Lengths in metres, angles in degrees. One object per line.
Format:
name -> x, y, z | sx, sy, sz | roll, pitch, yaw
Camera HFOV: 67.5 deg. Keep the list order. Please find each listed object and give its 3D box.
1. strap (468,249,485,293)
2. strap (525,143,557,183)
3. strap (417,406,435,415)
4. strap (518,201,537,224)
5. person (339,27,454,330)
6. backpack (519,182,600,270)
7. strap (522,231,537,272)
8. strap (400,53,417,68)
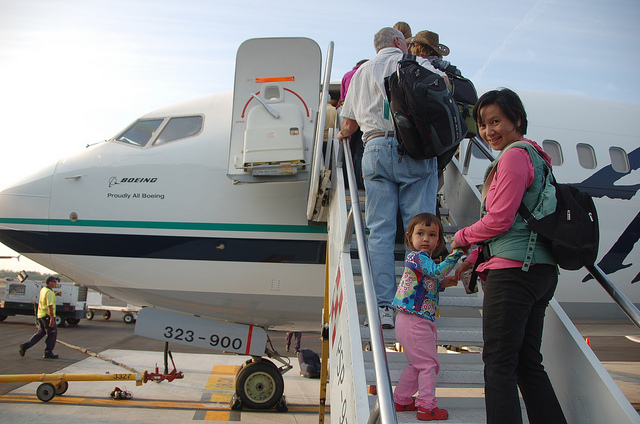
strap -> 1.259, 0.483, 3.847 | 0.063, 0.242, 0.219 | 18, 8, 10
strap -> 1.732, -0.365, 3.680 | 0.351, 0.286, 0.099 | 7, -9, -38
strap -> 0.869, 1.611, 3.888 | 0.093, 0.022, 0.066 | 14, -2, 9
strap -> 1.559, 0.010, 3.603 | 0.041, 0.155, 0.094 | -23, -16, 28
person -> 0.776, -0.414, 4.846 | 1.381, 2.945, 0.937 | -6, -14, 24
backpack -> 1.918, 0.019, 3.777 | 0.521, 0.552, 0.421 | 1, 10, 35
strap -> 1.568, 0.294, 3.564 | 0.108, 0.295, 0.021 | 3, -7, -9
strap -> 0.810, -1.388, 4.303 | 0.140, 0.142, 0.154 | 3, 33, 27
